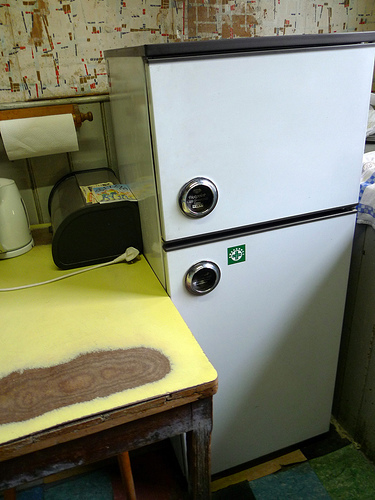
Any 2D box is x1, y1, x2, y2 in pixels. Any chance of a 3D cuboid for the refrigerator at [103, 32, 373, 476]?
[{"bbox_3d":[0.196,0.129,1.099,0.579,1.298,0.233,-9,29,-10],"label":"refrigerator"}]
